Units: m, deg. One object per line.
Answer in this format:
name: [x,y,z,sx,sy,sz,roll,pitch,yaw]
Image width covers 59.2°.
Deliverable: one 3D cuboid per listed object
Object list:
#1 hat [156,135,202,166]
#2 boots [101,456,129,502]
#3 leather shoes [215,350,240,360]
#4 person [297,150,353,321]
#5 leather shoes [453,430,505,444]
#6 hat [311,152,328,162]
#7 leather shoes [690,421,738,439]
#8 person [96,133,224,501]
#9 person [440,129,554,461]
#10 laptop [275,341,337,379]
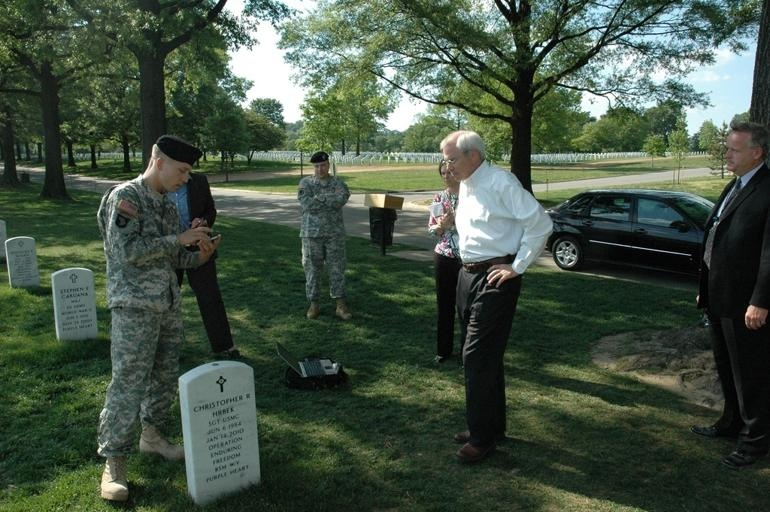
hat: [-2.227,-1.149,7.344,0.411,0.137,0.354,15,16,-20]
boots: [-2.899,2.361,7.254,0.286,0.417,0.413,-4,12,-22]
leather shoes: [-2.238,1.425,9.717,0.227,0.101,0.170,-19,-16,42]
person: [-0.989,-0.351,11.034,0.819,2.694,0.619,0,11,-3]
leather shoes: [1.094,2.128,8.001,0.585,0.242,0.211,4,1,-9]
hat: [-1.074,-1.622,11.005,0.280,0.190,0.464,-1,11,-7]
leather shoes: [3.841,2.041,7.980,0.483,0.180,0.184,2,-2,22]
person: [-2.584,0.598,7.448,1.377,3.796,1.011,-7,13,-32]
person: [1.261,0.410,7.844,0.980,3.675,0.929,-4,12,-18]
laptop: [-1.006,1.385,9.048,0.566,0.214,0.403,-3,15,-14]
